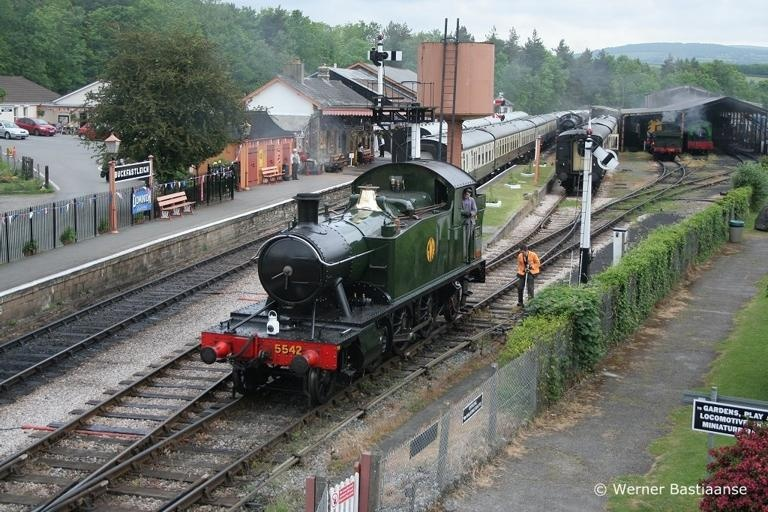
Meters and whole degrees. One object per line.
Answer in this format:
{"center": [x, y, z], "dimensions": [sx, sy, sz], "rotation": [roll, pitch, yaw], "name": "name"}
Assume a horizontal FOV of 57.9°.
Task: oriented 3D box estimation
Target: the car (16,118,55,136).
{"center": [-30.455, -11.143, 59.819], "dimensions": [3.174, 1.146, 1.478], "rotation": [5, 15, 7], "name": "car"}

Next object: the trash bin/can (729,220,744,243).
{"center": [16.783, -1.246, 32.879], "dimensions": [0.668, 1.007, 0.917], "rotation": [7, 18, 23], "name": "trash bin/can"}

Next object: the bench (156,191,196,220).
{"center": [-9.668, -2.376, 31.842], "dimensions": [0.527, 0.969, 1.900], "rotation": [7, 17, 23], "name": "bench"}

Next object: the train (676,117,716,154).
{"center": [28.181, -10.630, 62.043], "dimensions": [2.417, 3.021, 3.016], "rotation": [6, 17, 20], "name": "train"}

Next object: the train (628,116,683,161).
{"center": [24.368, -10.772, 62.180], "dimensions": [3.697, 3.473, 8.978], "rotation": [4, 16, 13], "name": "train"}
